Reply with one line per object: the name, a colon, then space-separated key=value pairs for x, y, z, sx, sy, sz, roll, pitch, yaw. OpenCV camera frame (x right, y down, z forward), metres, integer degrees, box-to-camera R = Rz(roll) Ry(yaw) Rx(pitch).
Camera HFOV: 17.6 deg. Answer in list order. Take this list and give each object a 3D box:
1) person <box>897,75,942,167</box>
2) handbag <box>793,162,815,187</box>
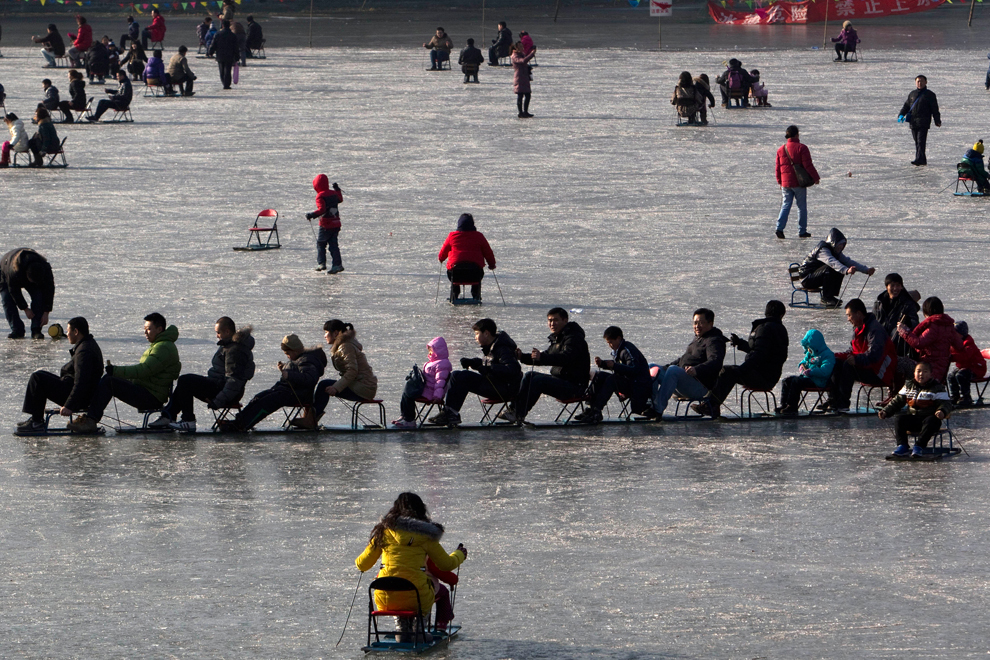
person: x=10.437 y=-5.186 z=78.094 sx=1.082 sy=2.102 sz=0.695 roll=3 pitch=9 yaw=34
handbag: x=6.953 y=-3.486 z=71.440 sx=0.541 sy=0.524 sz=0.231 roll=0 pitch=10 yaw=13
